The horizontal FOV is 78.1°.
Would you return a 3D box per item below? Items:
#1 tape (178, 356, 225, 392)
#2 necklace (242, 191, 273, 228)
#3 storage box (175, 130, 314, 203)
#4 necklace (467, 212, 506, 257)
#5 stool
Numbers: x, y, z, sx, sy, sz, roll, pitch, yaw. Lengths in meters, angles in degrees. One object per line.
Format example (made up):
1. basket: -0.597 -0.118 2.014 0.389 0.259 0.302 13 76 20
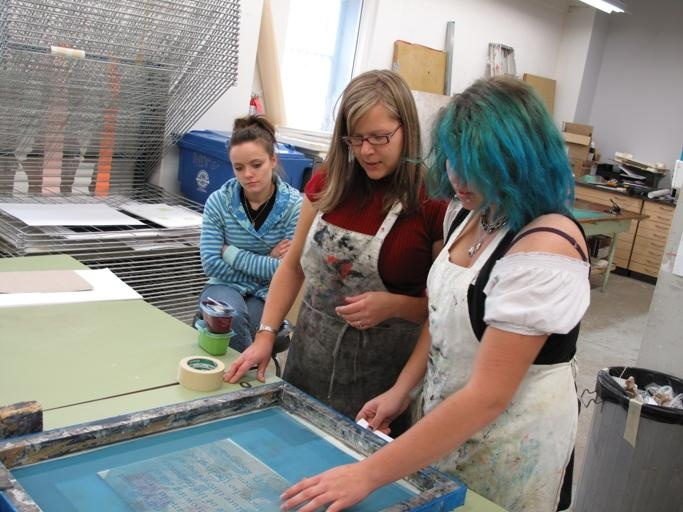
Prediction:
1. tape: -0.384 0.317 1.150 0.117 0.051 0.116 14 7 25
2. necklace: -0.450 -0.248 2.341 0.151 0.187 0.048 -1 -7 2
3. storage box: -0.753 -0.724 3.213 0.592 0.587 0.857 -11 26 -41
4. necklace: 0.343 -0.048 1.002 0.019 0.101 0.063 19 13 -27
5. stool: -0.393 0.361 1.819 0.381 0.400 0.380 2 -4 -6
